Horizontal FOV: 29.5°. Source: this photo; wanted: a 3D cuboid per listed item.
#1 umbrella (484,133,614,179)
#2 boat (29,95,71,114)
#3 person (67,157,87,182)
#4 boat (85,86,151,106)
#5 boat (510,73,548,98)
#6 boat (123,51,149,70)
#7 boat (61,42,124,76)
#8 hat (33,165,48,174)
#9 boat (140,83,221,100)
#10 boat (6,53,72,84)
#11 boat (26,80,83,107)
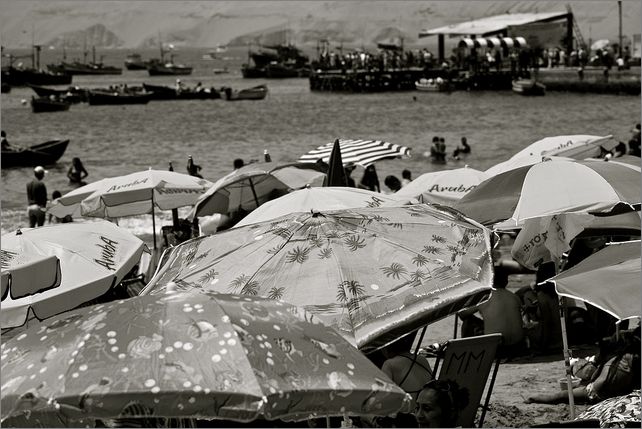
[{"bbox_3d":[3.917,-1.001,20.920,1.809,0.579,0.505,-18,38,-7],"label":"umbrella"},{"bbox_3d":[-6.114,-2.470,27.555,0.352,0.327,0.701,13,16,38],"label":"boat"},{"bbox_3d":[-5.398,-0.987,26.959,0.419,0.865,0.265,-4,-8,-8],"label":"person"},{"bbox_3d":[-4.656,-2.715,28.137,1.465,0.429,0.447,-7,14,-15],"label":"boat"},{"bbox_3d":[4.834,-3.017,28.617,0.578,0.229,0.451,4,12,-16],"label":"boat"},{"bbox_3d":[-4.389,-3.586,28.790,0.721,0.496,0.250,-1,-2,-10],"label":"boat"},{"bbox_3d":[-5.360,-3.606,28.521,1.393,0.756,0.420,1,-1,-10],"label":"boat"},{"bbox_3d":[-5.762,-0.926,25.050,0.215,0.187,0.170,6,20,2],"label":"hat"},{"bbox_3d":[-3.378,-2.874,28.620,1.307,0.288,0.246,5,47,-27],"label":"boat"},{"bbox_3d":[-6.477,-3.181,27.944,1.414,0.532,0.600,-5,14,-11],"label":"boat"},{"bbox_3d":[-5.936,-2.782,27.809,1.446,0.518,0.476,1,-4,-29],"label":"boat"}]
